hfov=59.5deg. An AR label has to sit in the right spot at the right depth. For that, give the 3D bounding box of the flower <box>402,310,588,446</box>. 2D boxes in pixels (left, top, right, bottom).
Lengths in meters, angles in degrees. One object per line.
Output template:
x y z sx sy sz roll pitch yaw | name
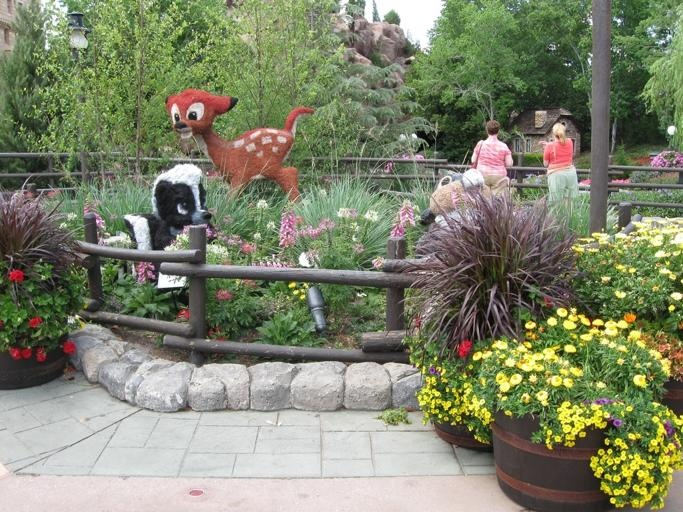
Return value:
1.004 0.752 3.749 0.824 0.634 0.904 0 12 -1 | flower

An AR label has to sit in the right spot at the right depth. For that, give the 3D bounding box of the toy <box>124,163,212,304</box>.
-1.749 -0.487 5.978 0.822 0.809 0.475 -7 13 -20 | toy
